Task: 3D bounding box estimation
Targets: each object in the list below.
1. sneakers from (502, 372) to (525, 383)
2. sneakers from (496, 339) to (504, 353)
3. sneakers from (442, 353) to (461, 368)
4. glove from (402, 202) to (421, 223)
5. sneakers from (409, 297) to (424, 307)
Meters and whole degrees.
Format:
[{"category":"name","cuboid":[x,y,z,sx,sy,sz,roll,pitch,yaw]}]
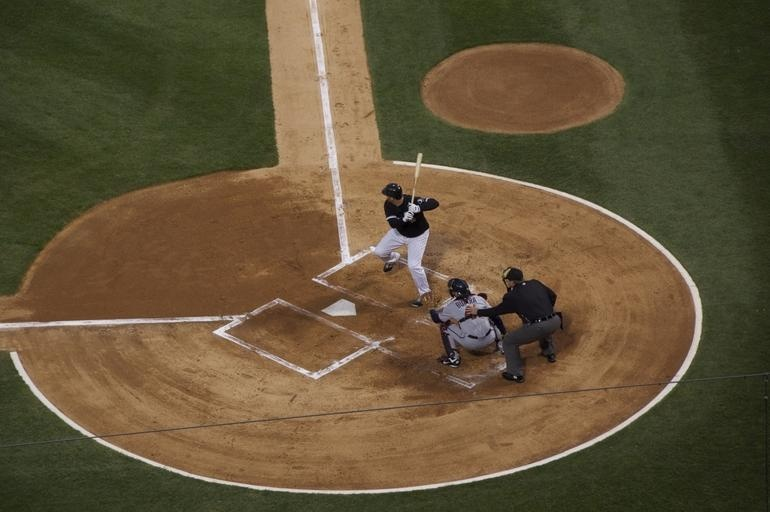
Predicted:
[{"category":"sneakers","cuboid":[3.066,2.917,30.303,0.539,0.192,0.181,10,-33,9]},{"category":"sneakers","cuboid":[2.789,2.211,30.816,0.306,0.208,0.292,-1,11,-1]},{"category":"sneakers","cuboid":[1.605,2.511,30.545,0.291,0.253,0.497,-19,32,-33]},{"category":"glove","cuboid":[0.647,-1.094,31.407,0.181,0.412,0.449,26,32,6]},{"category":"sneakers","cuboid":[0.836,1.137,31.822,0.517,0.134,0.173,1,-34,9]}]
